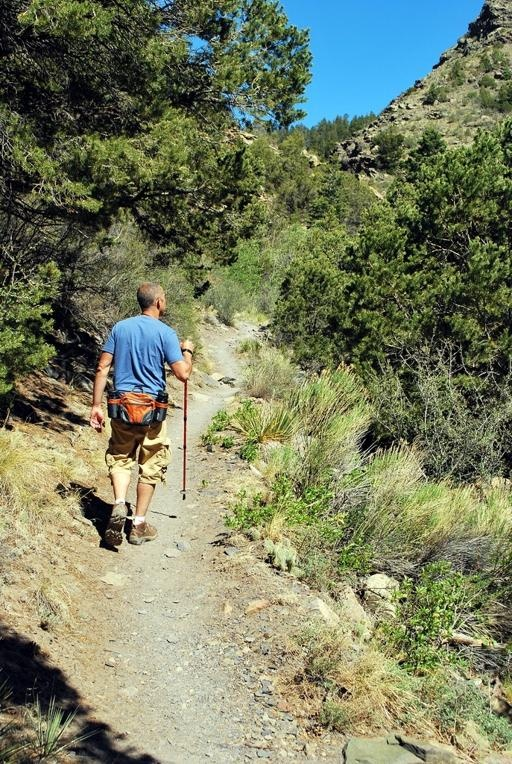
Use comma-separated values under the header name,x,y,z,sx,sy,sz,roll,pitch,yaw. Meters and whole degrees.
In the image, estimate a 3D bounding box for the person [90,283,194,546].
name,x,y,z,sx,sy,sz,roll,pitch,yaw
person,-0.909,0.328,5.091,0.741,2.116,0.528,-2,16,-43

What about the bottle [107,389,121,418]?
name,x,y,z,sx,sy,sz,roll,pitch,yaw
bottle,-1.058,0.187,4.899,0.073,0.224,0.102,-2,16,-41

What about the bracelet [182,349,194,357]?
name,x,y,z,sx,sy,sz,roll,pitch,yaw
bracelet,-0.547,-0.219,5.279,0.064,0.020,0.066,28,1,-39

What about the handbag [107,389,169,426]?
name,x,y,z,sx,sy,sz,roll,pitch,yaw
handbag,-0.886,0.201,4.900,0.459,0.324,0.245,5,11,-4

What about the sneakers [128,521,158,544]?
name,x,y,z,sx,sy,sz,roll,pitch,yaw
sneakers,-0.958,1.216,5.518,0.119,0.190,0.296,9,18,24
